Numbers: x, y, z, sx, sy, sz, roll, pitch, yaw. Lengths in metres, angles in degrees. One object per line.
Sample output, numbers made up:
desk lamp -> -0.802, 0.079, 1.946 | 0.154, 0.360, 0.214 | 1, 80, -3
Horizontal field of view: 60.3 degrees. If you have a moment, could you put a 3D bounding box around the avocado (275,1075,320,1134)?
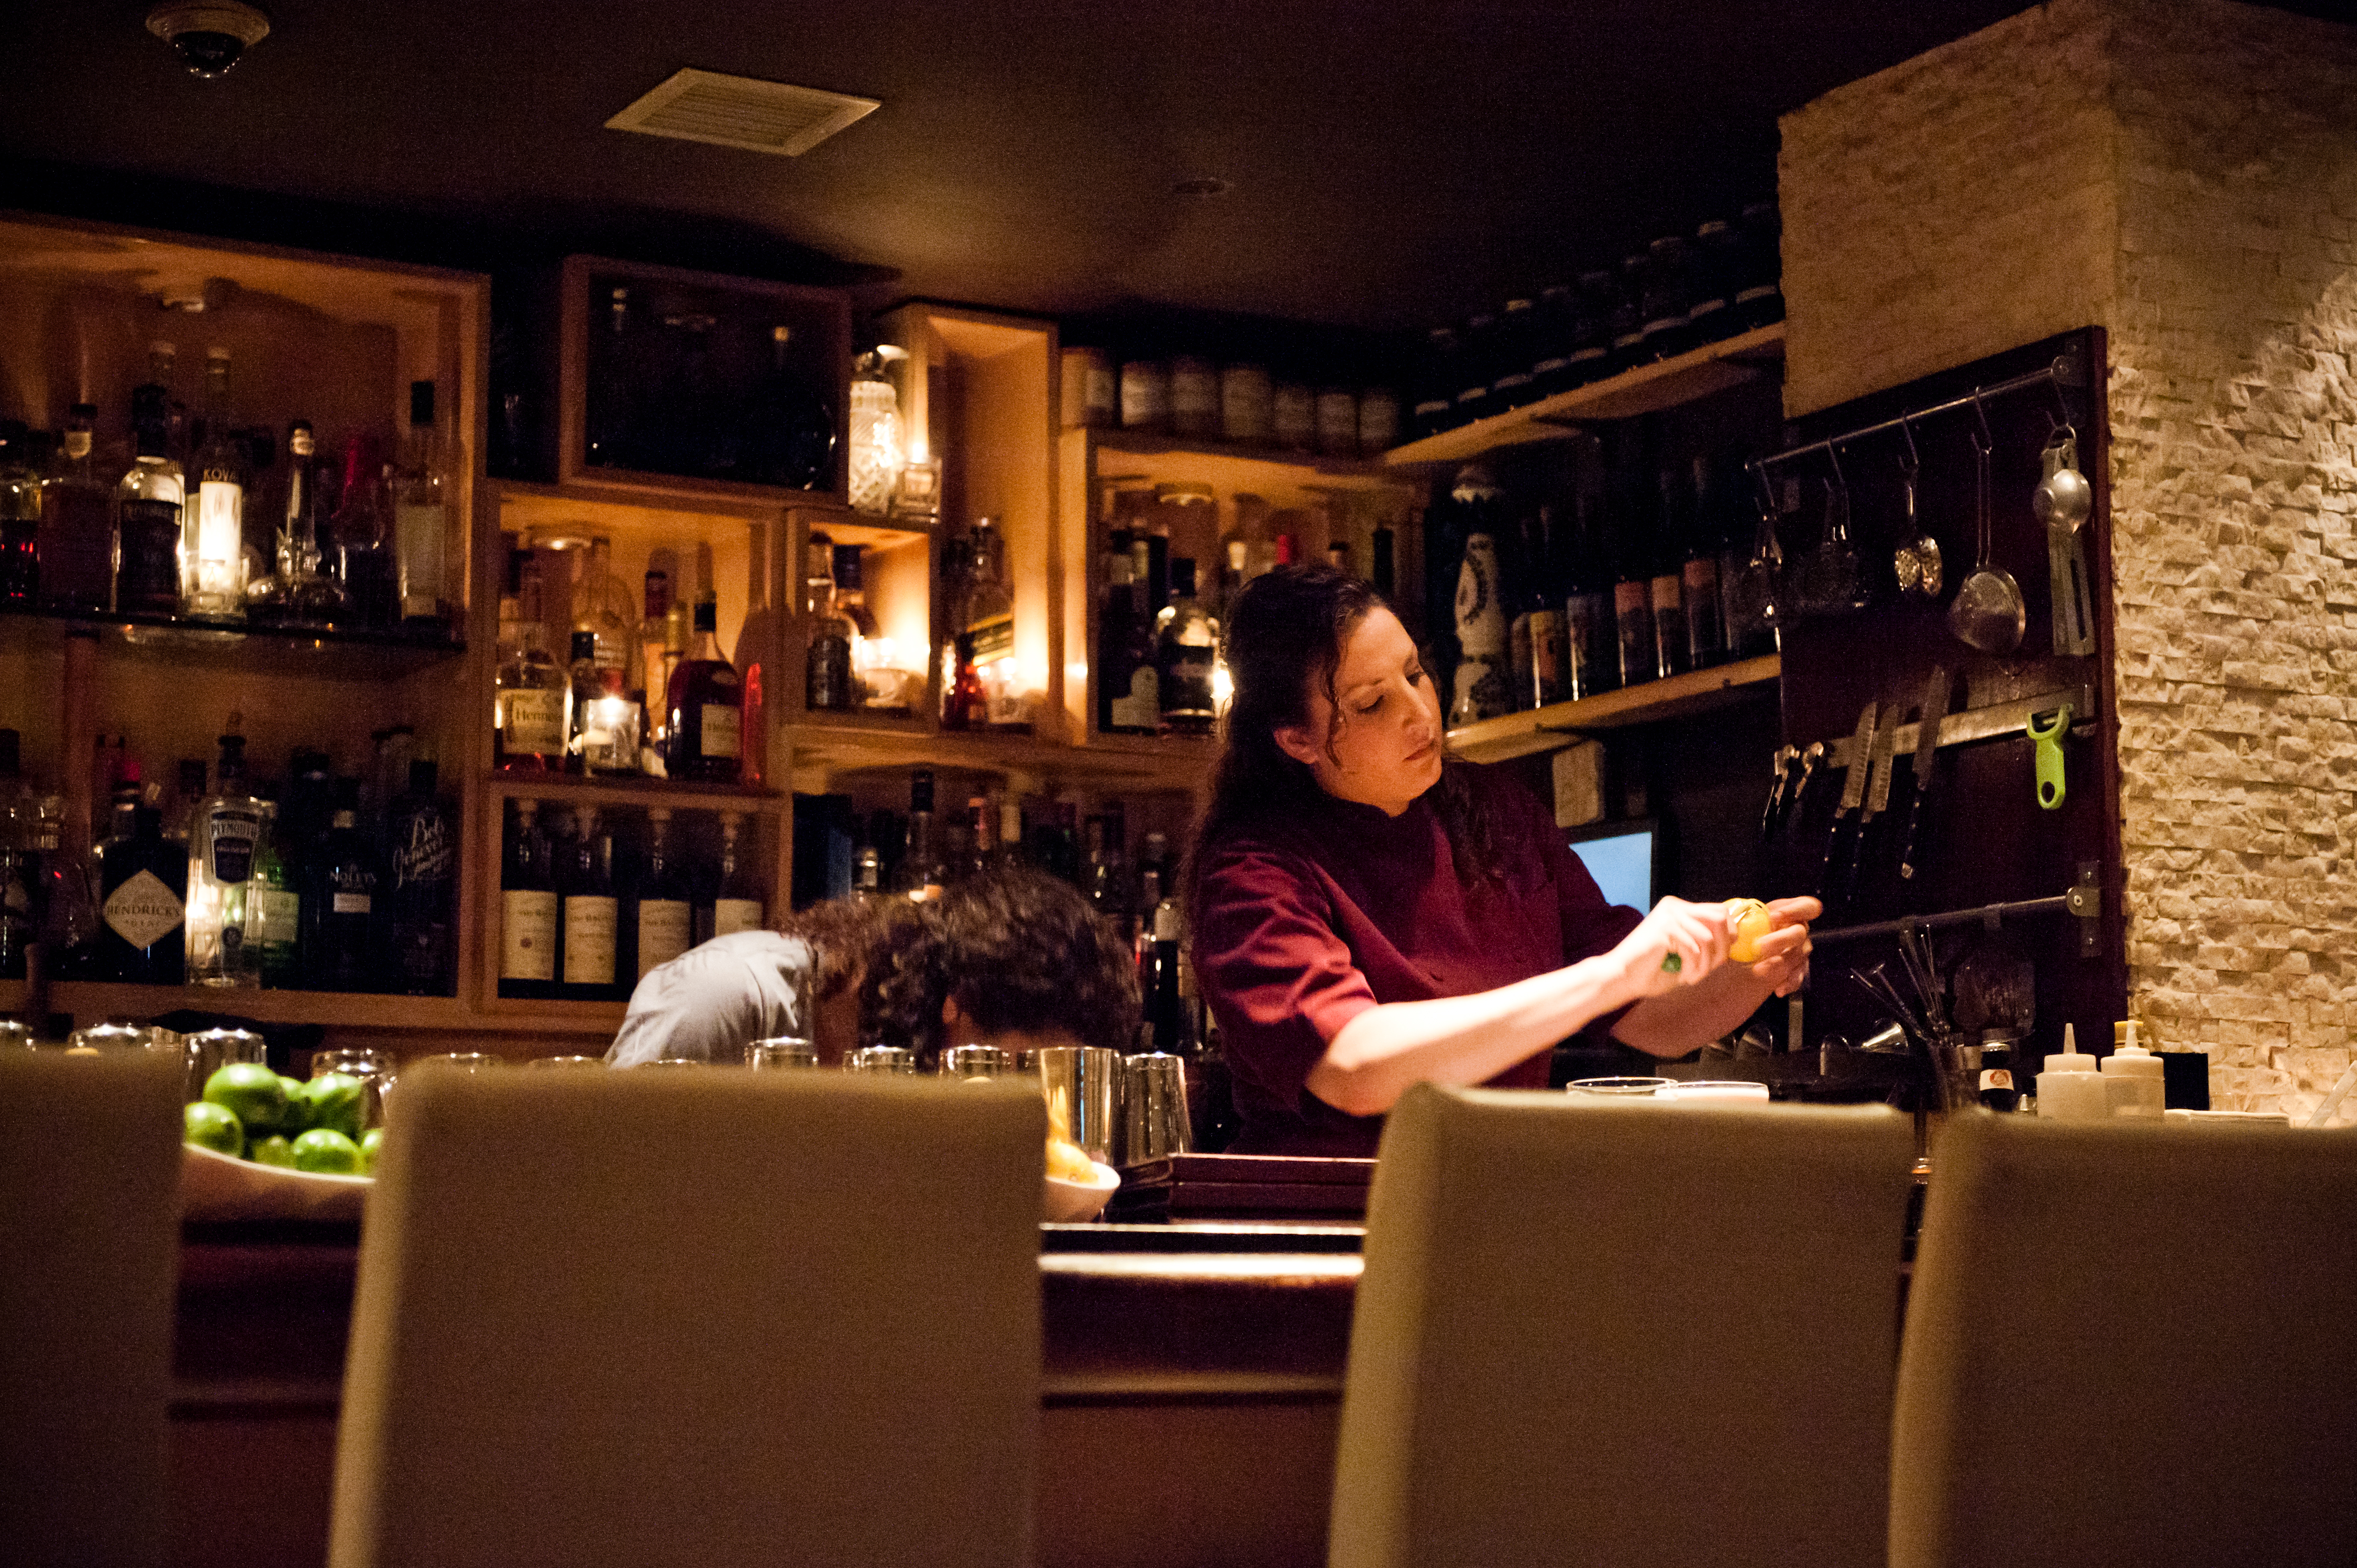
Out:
avocado -> -0.762, 0.274, 1.724 | 0.037, 0.043, 0.038 | -5, 8, 6

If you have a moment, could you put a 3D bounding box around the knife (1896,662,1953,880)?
knife -> 1.359, -0.038, 3.701 | 0.063, 0.431, 0.025 | 14, 14, 39

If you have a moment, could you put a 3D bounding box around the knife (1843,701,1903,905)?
knife -> 1.286, 0.022, 3.771 | 0.036, 0.408, 0.079 | 27, -23, -29

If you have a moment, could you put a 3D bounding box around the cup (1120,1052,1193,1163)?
cup -> -0.021, 0.383, 2.429 | 0.053, 0.118, 0.145 | 1, -2, 24

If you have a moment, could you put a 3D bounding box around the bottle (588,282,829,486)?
bottle -> -1.074, -0.892, 4.507 | 0.464, 0.366, 0.147 | 4, -6, -21

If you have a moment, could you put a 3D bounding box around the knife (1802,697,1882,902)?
knife -> 1.248, 0.052, 3.791 | 0.038, 0.456, 0.074 | 32, -18, -33

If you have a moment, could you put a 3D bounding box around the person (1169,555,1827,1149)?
person -> 0.317, 0.079, 2.521 | 0.614, 0.729, 0.601 | 2, -2, -1
